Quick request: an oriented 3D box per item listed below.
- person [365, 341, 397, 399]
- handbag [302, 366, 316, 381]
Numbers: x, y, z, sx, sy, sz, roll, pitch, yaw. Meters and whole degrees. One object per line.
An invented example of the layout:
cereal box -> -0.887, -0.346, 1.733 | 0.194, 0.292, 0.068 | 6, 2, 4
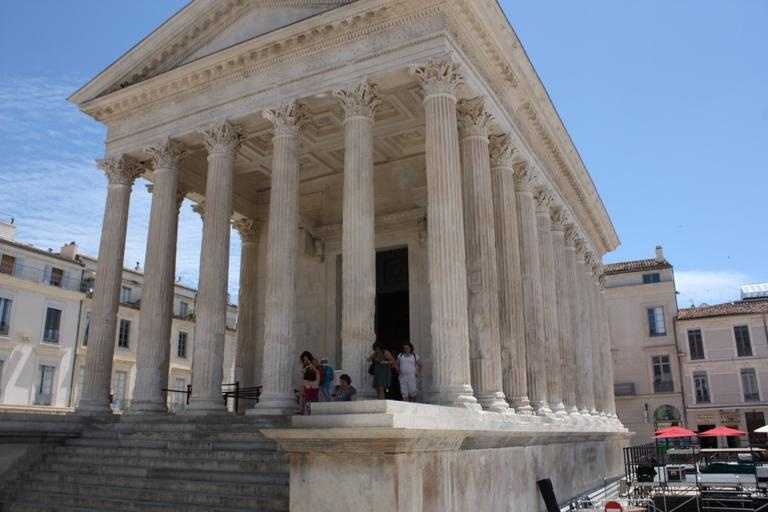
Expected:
person -> -0.061, 3.401, 16.740 | 0.811, 1.602, 0.759 | -2, -19, 1
handbag -> -2.220, 3.515, 16.890 | 0.407, 0.400, 0.282 | 0, -19, -6
